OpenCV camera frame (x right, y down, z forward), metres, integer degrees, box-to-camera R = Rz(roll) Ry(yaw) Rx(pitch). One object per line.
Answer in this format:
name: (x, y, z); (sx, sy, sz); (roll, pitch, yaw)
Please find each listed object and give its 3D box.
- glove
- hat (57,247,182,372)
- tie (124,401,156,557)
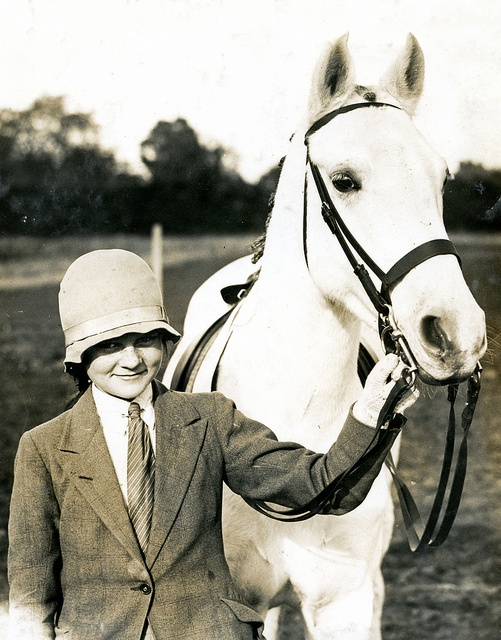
glove: (0.423, 0.241, 4.963); (0.149, 0.254, 0.103); (44, 9, 31)
hat: (-0.410, -0.074, 5.163); (0.327, 0.273, 0.370); (-21, 15, 7)
tie: (-0.340, 0.484, 5.000); (0.079, 0.443, 0.121); (-2, 9, 8)
